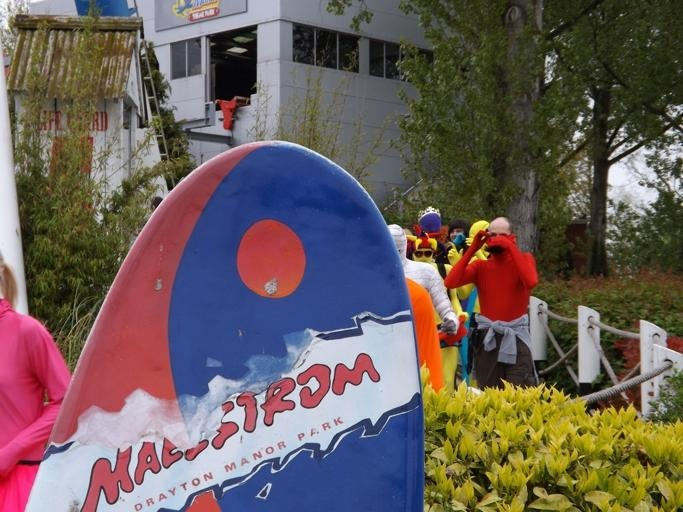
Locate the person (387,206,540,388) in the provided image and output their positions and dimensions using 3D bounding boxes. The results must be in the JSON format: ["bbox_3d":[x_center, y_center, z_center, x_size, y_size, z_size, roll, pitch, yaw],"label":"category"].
[{"bbox_3d":[1.839,0.585,12.040,1.068,1.637,0.416,9,4,19],"label":"person"}]
